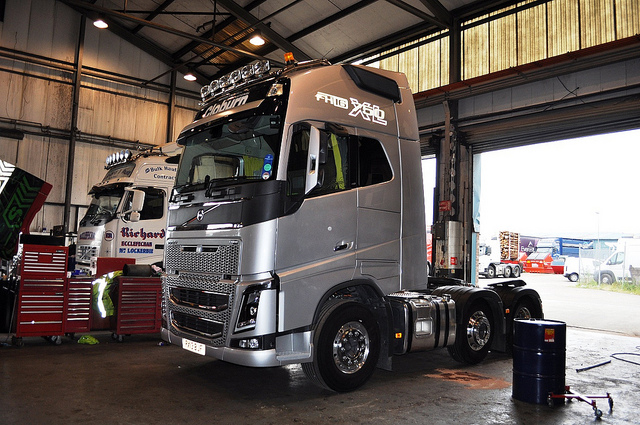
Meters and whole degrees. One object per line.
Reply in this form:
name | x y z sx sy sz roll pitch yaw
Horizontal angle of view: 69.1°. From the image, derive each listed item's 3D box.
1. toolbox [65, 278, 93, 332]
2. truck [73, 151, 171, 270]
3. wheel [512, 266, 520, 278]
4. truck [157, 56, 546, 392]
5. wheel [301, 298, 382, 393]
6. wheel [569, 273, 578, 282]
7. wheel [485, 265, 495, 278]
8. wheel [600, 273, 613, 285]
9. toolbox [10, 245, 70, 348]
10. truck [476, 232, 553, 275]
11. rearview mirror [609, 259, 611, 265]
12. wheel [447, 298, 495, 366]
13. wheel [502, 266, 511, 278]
toolbox | -5.573 2.113 10.692 0.828 1.142 0.810 -3 -7 38
truck | -4.872 0.067 14.267 2.389 2.526 4.011 -8 -14 44
wheel | 12.691 3.853 30.225 0.867 0.825 0.326 -8 11 -41
truck | 1.265 0.282 11.138 9.284 5.616 4.295 3 -2 -41
wheel | 0.394 2.348 8.108 1.592 1.515 0.540 13 -15 -37
wheel | 17.509 4.502 32.041 0.632 0.606 0.226 -9 -2 17
wheel | 10.495 3.654 28.820 0.835 0.794 0.270 -10 8 -31
wheel | 16.527 3.823 26.833 0.172 0.561 0.646 2 0 -23
toolbox | -5.938 1.905 10.670 1.182 2.241 1.320 1 -4 2
truck | 12.448 2.823 30.041 5.716 2.293 1.997 7 3 -14
rearview mirror | 16.698 2.870 26.766 0.047 0.238 0.116 2 0 -13
wheel | 3.165 2.485 9.648 1.333 1.304 0.239 2 0 -37
wheel | 11.769 3.777 29.439 0.706 0.674 0.247 -9 5 -39
